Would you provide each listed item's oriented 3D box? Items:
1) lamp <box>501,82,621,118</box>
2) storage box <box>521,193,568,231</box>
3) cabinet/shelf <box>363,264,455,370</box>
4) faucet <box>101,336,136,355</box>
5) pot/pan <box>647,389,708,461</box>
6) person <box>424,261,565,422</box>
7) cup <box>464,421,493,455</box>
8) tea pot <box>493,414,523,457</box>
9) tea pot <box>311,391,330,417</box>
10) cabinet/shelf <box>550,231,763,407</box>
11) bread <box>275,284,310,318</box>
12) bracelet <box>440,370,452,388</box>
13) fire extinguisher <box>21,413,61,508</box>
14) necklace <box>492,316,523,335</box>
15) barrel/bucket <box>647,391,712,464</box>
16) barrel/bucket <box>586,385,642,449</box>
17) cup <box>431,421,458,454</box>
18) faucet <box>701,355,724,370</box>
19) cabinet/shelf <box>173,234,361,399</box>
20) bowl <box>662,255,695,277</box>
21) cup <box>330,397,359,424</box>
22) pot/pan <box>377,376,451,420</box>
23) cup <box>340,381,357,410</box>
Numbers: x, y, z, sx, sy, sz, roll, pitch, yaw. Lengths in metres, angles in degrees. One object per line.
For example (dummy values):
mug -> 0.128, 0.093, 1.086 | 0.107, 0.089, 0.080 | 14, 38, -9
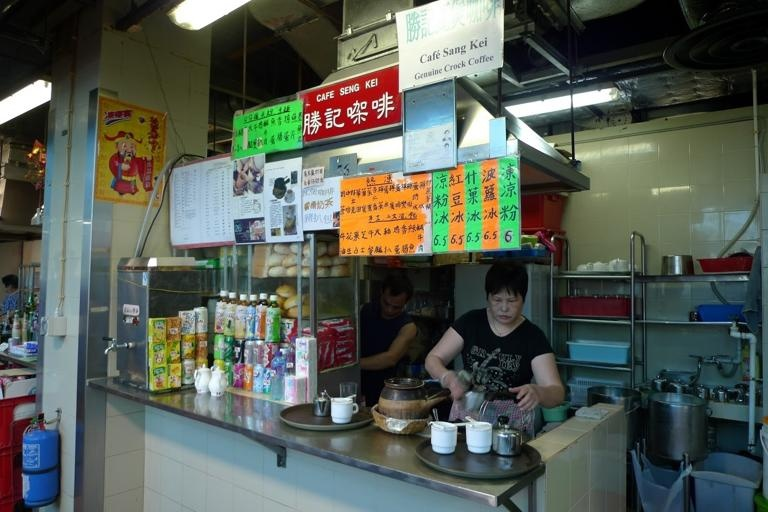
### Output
lamp -> 2.093, -1.781, 7.185 | 1.221, 0.141, 0.618 | -3, -2, 34
storage box -> 1.876, -0.529, 7.308 | 0.340, 0.390, 0.545 | 2, -2, 39
cabinet/shelf -> 0.254, 0.620, 6.283 | 0.657, 1.805, 0.651 | 16, 29, 31
faucet -> -2.230, 0.760, 5.166 | 0.169, 0.164, 0.424 | 0, -2, -36
pot/pan -> 2.864, 1.641, 6.158 | 0.674, 0.663, 0.616 | -1, -5, 34
person -> 0.821, 0.674, 4.648 | 0.994, 1.245, 0.600 | -2, -2, 16
cup -> 0.604, 1.161, 3.960 | 0.173, 0.169, 0.174 | 0, -6, 0
tea pot -> 0.771, 1.161, 3.916 | 0.150, 0.185, 0.261 | 1, -6, -4
tea pot -> -0.439, 1.062, 4.457 | 0.105, 0.151, 0.178 | 2, -4, 3
cabinet/shelf -> 3.077, 0.727, 6.801 | 1.952, 2.274, 0.675 | 0, 0, 17
bread -> -0.715, 0.352, 4.881 | 0.154, 0.266, 0.341 | 0, -2, -38
bracelet -> 0.469, 0.915, 4.576 | 0.097, 0.095, 0.099 | -2, -6, 31
fire extinguisher -> -2.954, 1.749, 5.309 | 0.291, 0.809, 0.239 | -1, -2, -28
necklace -> 0.939, 0.552, 4.834 | 0.167, 0.082, 0.168 | 4, -4, 2
barrel/bucket -> 2.846, 1.644, 6.216 | 0.665, 0.661, 0.643 | 1, -4, 0
barrel/bucket -> 2.417, 1.684, 6.433 | 0.497, 0.604, 0.560 | -3, -3, 44
cup -> 0.383, 1.155, 3.948 | 0.172, 0.167, 0.171 | 0, -6, 0
faucet -> 3.598, 1.152, 6.760 | 0.163, 0.143, 0.258 | -2, -2, -4
cabinet/shelf -> -0.904, 0.509, 4.925 | 1.309, 1.191, 0.469 | -1, -2, 35
bowl -> 3.251, 0.112, 6.820 | 0.259, 0.193, 0.261 | -1, -3, 0
cup -> -0.274, 1.078, 4.300 | 0.198, 0.135, 0.129 | 7, -12, -37
pot/pan -> 0.216, 0.970, 4.287 | 0.424, 0.279, 0.260 | 0, -6, 18
cup -> -0.267, 0.998, 4.548 | 0.117, 0.191, 0.190 | 0, 3, -15
